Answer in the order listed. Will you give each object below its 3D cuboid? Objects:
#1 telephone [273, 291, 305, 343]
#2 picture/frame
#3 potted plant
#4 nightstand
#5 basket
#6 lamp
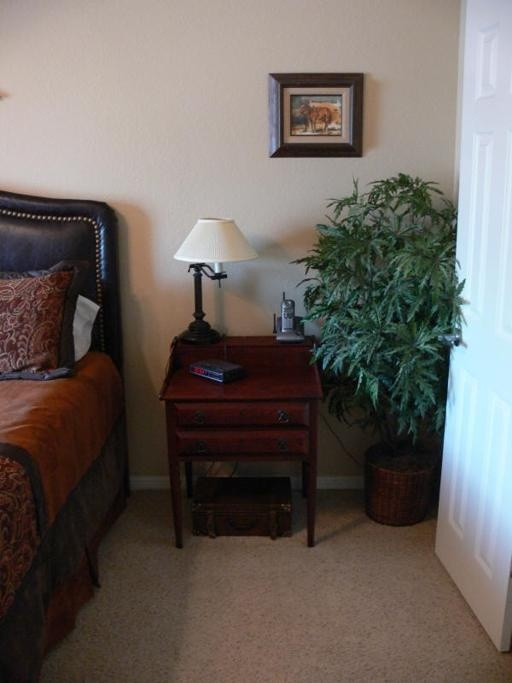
[{"bbox_3d":[0.149,-0.102,2.471,0.150,0.185,0.196,-4,11,-12],"label":"telephone"},{"bbox_3d":[0.254,-0.959,2.339,0.312,0.273,0.024,-1,14,0],"label":"picture/frame"},{"bbox_3d":[0.457,0.078,2.267,0.640,1.489,0.806,2,12,16],"label":"potted plant"},{"bbox_3d":[-0.048,0.397,2.372,0.601,0.752,0.480,0,17,-1],"label":"nightstand"},{"bbox_3d":[0.627,0.628,2.503,0.301,0.260,0.337,-3,3,6],"label":"basket"},{"bbox_3d":[-0.152,-0.241,2.284,0.328,0.487,0.328,-7,-7,43],"label":"lamp"}]
